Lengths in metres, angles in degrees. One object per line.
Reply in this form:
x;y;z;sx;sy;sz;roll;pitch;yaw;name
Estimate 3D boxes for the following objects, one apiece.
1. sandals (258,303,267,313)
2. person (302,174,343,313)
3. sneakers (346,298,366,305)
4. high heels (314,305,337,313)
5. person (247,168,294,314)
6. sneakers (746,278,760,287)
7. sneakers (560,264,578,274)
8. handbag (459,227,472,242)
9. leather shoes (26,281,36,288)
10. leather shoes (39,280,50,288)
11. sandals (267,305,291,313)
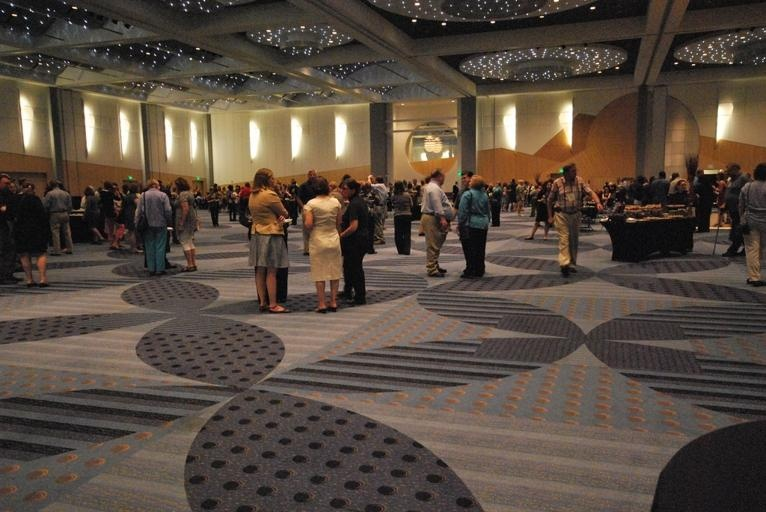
-1.719;0.749;7.073;0.060;0.063;0.157;2;8;3;sandals
-0.824;-0.135;6.916;0.489;1.863;0.305;-3;13;-6;person
-0.433;0.685;7.495;0.318;0.128;0.110;-1;3;16;sneakers
-0.802;0.756;7.054;0.239;0.079;0.132;3;4;35;high heels
-1.619;-0.206;7.084;0.570;2.007;0.608;-2;12;-2;person
5.889;0.426;7.941;0.134;0.134;0.335;-1;-2;19;sneakers
3.491;0.270;9.339;0.201;0.255;0.641;-2;-9;25;sneakers
1.517;-0.397;9.225;0.281;0.249;0.079;0;-4;3;handbag
-6.416;0.529;9.071;0.118;0.117;0.311;3;-8;-27;leather shoes
-6.093;0.506;8.946;0.168;0.099;0.219;-8;13;-30;leather shoes
-1.499;0.744;7.082;0.259;0.091;0.129;-2;5;0;sandals
